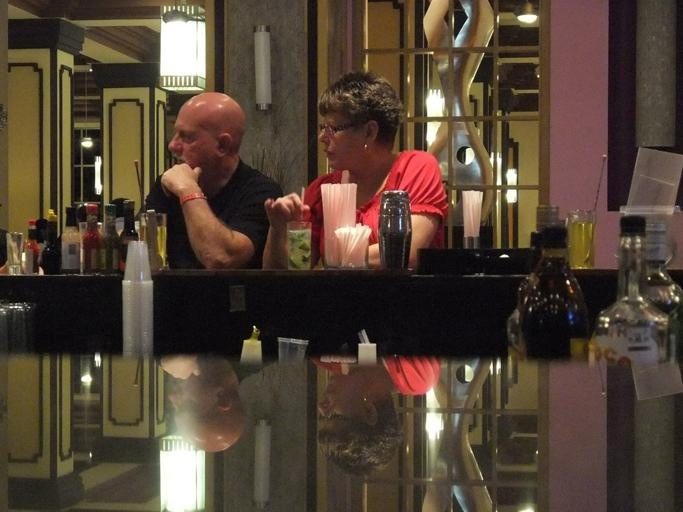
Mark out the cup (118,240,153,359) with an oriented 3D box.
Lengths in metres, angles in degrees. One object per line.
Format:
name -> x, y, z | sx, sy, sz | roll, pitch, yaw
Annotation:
cup -> -0.668, 0.142, 3.469 | 0.101, 0.345, 0.174 | -3, 10, -12

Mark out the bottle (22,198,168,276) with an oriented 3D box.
bottle -> -0.926, -0.071, 4.204 | 0.640, 0.330, 0.226 | 5, 12, 27

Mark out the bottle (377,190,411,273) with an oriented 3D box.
bottle -> 0.200, -0.090, 3.974 | 0.118, 0.294, 0.088 | 0, 10, 3

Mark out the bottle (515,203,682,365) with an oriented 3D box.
bottle -> 0.820, 0.105, 3.363 | 0.416, 0.478, 0.167 | 1, 3, 17

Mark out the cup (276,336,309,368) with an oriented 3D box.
cup -> -0.166, 0.307, 3.392 | 0.062, 0.060, 0.068 | 3, -7, 0

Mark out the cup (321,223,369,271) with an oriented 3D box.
cup -> 0.025, -0.032, 4.020 | 0.137, 0.174, 0.140 | 4, -2, 0

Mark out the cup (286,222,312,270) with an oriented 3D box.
cup -> -0.159, -0.030, 4.048 | 0.086, 0.168, 0.164 | -2, 11, -4

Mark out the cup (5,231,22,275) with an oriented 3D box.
cup -> -1.363, 0.003, 4.443 | 0.068, 0.191, 0.326 | -4, 12, -17

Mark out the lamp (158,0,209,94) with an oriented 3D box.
lamp -> -0.961, -1.259, 6.443 | 0.282, 0.565, 0.704 | -3, 12, -9
